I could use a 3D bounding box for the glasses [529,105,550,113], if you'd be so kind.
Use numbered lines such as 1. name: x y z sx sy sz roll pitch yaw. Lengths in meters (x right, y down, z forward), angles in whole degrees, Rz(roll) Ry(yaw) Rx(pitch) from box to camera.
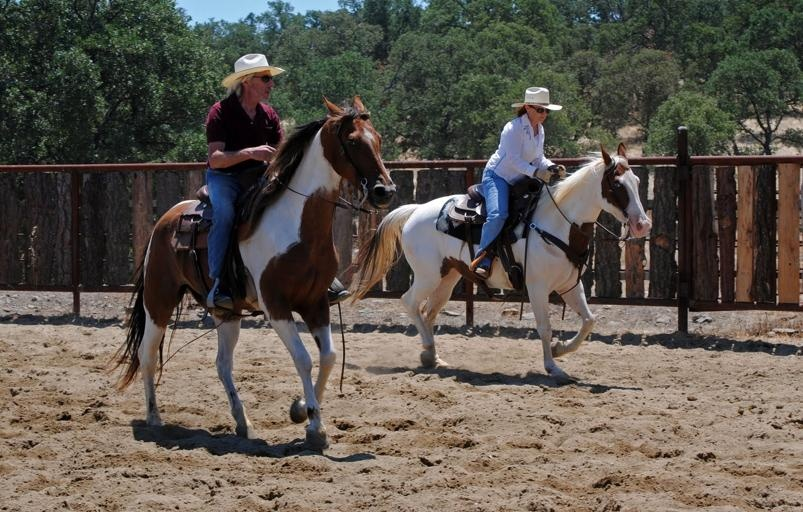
1. glasses: 3.077 -3.331 26.997 0.218 0.080 0.260 7 12 -29

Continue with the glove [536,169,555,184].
1. glove: 3.229 -1.805 27.068 0.394 0.296 0.306 0 1 -4

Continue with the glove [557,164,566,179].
1. glove: 3.614 -1.900 26.969 0.233 0.319 0.117 0 4 29

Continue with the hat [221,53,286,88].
1. hat: -3.146 -3.896 25.031 1.139 0.775 0.740 0 1 -9

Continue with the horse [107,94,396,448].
1. horse: -3.373 0.774 26.099 2.223 6.695 9.568 2 -8 -45
